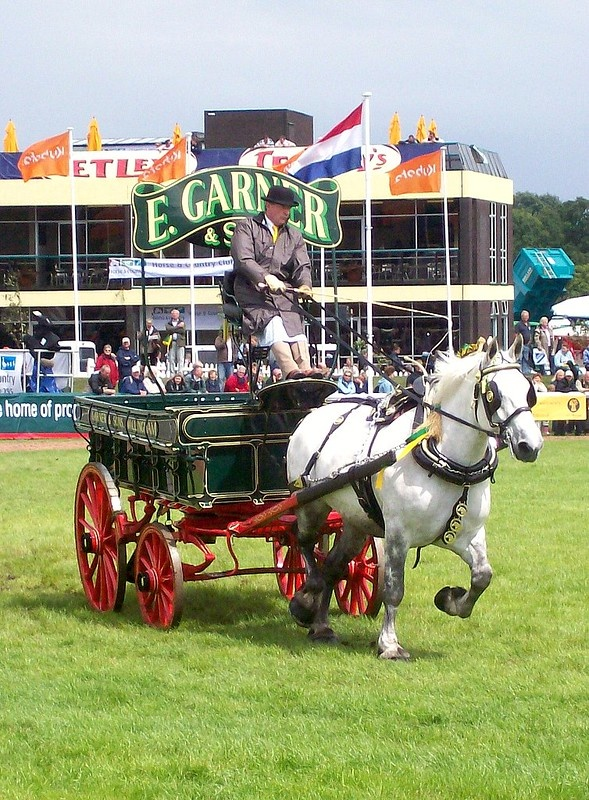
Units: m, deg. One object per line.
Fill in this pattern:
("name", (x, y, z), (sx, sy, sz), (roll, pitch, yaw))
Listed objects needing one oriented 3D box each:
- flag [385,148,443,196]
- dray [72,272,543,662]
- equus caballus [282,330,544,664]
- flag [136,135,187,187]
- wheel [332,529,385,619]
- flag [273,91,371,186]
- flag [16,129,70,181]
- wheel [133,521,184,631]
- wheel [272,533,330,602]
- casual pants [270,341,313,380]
("flag", (2.407, -4.606, 35.647), (1.000, 0.791, 1.341), (0, -2, -13))
("dray", (0.191, 0.511, 11.478), (1.768, 2.246, 3.272), (1, -3, -38))
("equus caballus", (0.717, 0.615, 10.700), (0.724, 1.879, 2.190), (0, -2, -32))
("flag", (-2.504, -4.709, 34.781), (0.792, 1.113, 1.774), (-1, -2, -4))
("wheel", (0.443, 1.159, 11.824), (0.126, 0.547, 0.467), (5, 13, -19))
("flag", (0.603, -4.430, 30.441), (1.568, 1.185, 0.613), (-2, -2, 34))
("flag", (-5.084, -5.058, 36.251), (0.913, 0.937, 1.226), (1, -3, -45))
("wheel", (-0.893, 1.181, 11.684), (0.135, 0.631, 0.523), (-3, 7, -21))
("wheel", (-0.021, 1.197, 12.837), (0.391, 0.576, 0.488), (0, 9, 22))
("casual pants", (-0.013, -0.253, 12.004), (0.169, 0.349, 0.144), (-9, -30, -15))
